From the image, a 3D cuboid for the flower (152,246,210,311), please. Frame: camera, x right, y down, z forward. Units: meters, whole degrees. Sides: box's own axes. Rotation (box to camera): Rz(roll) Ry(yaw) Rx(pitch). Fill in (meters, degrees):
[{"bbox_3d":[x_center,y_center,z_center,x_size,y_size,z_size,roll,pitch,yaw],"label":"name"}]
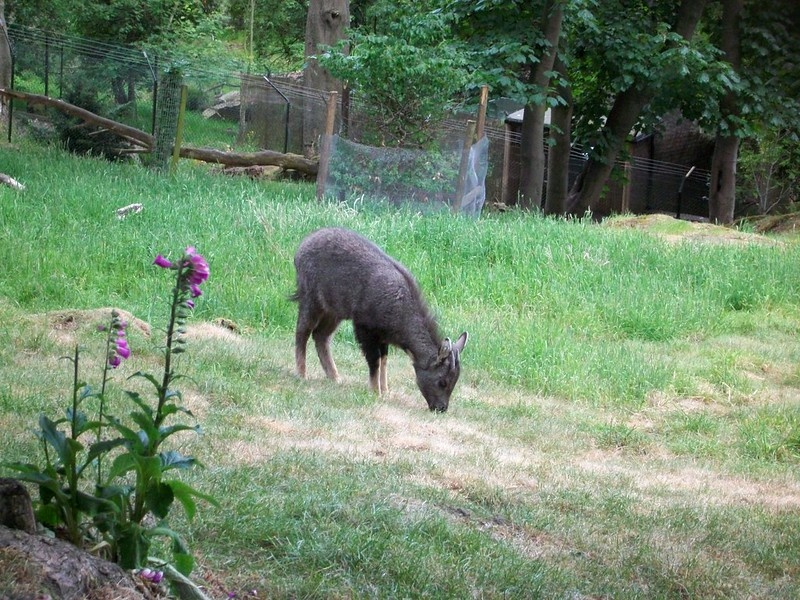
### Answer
[{"bbox_3d":[-2.026,-0.304,11.767,0.396,0.656,0.444,14,27,-23],"label":"flower"}]
